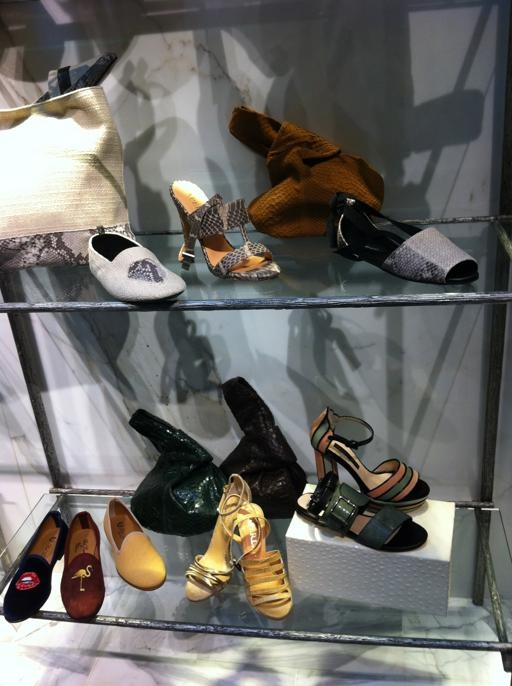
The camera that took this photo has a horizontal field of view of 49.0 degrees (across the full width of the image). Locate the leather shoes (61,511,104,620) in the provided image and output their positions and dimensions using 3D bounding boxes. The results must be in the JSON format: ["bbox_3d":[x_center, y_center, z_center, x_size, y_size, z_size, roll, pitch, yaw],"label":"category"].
[{"bbox_3d":[-0.325,0.411,1.059,0.064,0.045,0.198,-1,26,-16],"label":"leather shoes"}]

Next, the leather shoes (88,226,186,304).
[{"bbox_3d":[-0.179,-0.103,0.833,0.091,0.050,0.172,-28,42,-33],"label":"leather shoes"}]

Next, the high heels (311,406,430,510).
[{"bbox_3d":[0.216,0.213,1.058,0.251,0.173,0.121,6,41,21],"label":"high heels"}]

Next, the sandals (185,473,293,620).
[{"bbox_3d":[-0.021,0.367,0.975,0.161,0.057,0.248,0,38,7],"label":"sandals"}]

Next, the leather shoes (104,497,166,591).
[{"bbox_3d":[-0.232,0.402,1.125,0.087,0.068,0.206,-13,28,-27],"label":"leather shoes"}]

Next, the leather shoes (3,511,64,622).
[{"bbox_3d":[-0.409,0.431,1.093,0.083,0.061,0.216,0,32,9],"label":"leather shoes"}]

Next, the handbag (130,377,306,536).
[{"bbox_3d":[-0.054,0.231,1.140,0.427,0.272,0.225,-9,21,13],"label":"handbag"}]

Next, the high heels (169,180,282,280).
[{"bbox_3d":[-0.061,-0.189,0.933,0.281,0.120,0.101,28,44,35],"label":"high heels"}]

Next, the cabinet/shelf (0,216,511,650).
[{"bbox_3d":[0.034,0.165,1.025,0.896,0.658,0.453,-2,43,11],"label":"cabinet/shelf"}]
